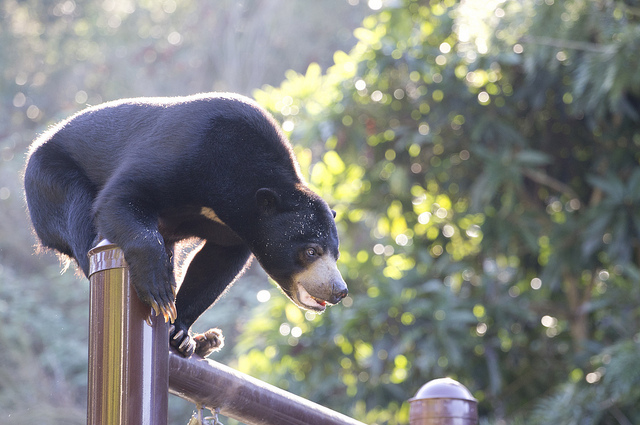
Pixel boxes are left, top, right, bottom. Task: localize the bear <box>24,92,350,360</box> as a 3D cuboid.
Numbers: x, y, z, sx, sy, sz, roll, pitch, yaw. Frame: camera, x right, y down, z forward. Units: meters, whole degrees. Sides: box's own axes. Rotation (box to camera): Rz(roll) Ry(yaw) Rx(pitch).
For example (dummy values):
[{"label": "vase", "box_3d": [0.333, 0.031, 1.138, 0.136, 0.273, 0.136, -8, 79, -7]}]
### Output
[{"label": "bear", "box_3d": [-1.143, -0.018, 11.224, 3.304, 2.122, 1.557, 2, -7, 36]}]
